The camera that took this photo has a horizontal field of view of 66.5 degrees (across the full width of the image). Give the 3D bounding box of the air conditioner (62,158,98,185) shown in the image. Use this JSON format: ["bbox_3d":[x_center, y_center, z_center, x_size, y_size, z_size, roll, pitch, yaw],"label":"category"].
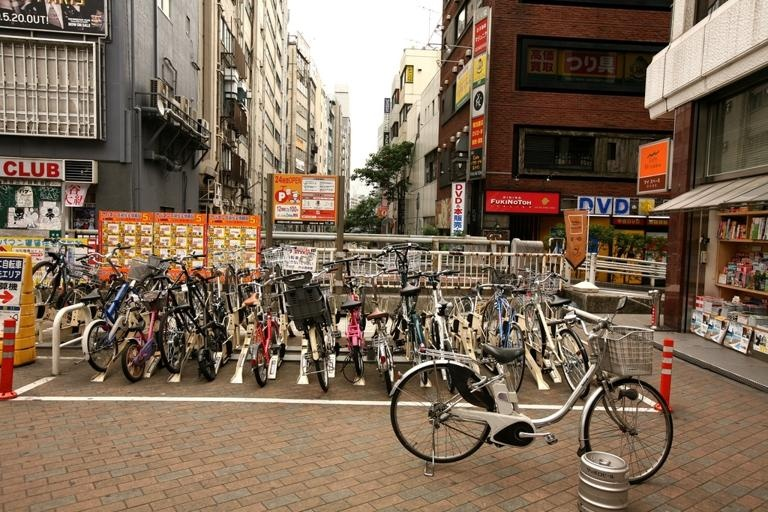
[{"bbox_3d":[-8.971,-2.487,17.425,1.165,0.861,0.624,0,4,-13],"label":"air conditioner"}]
